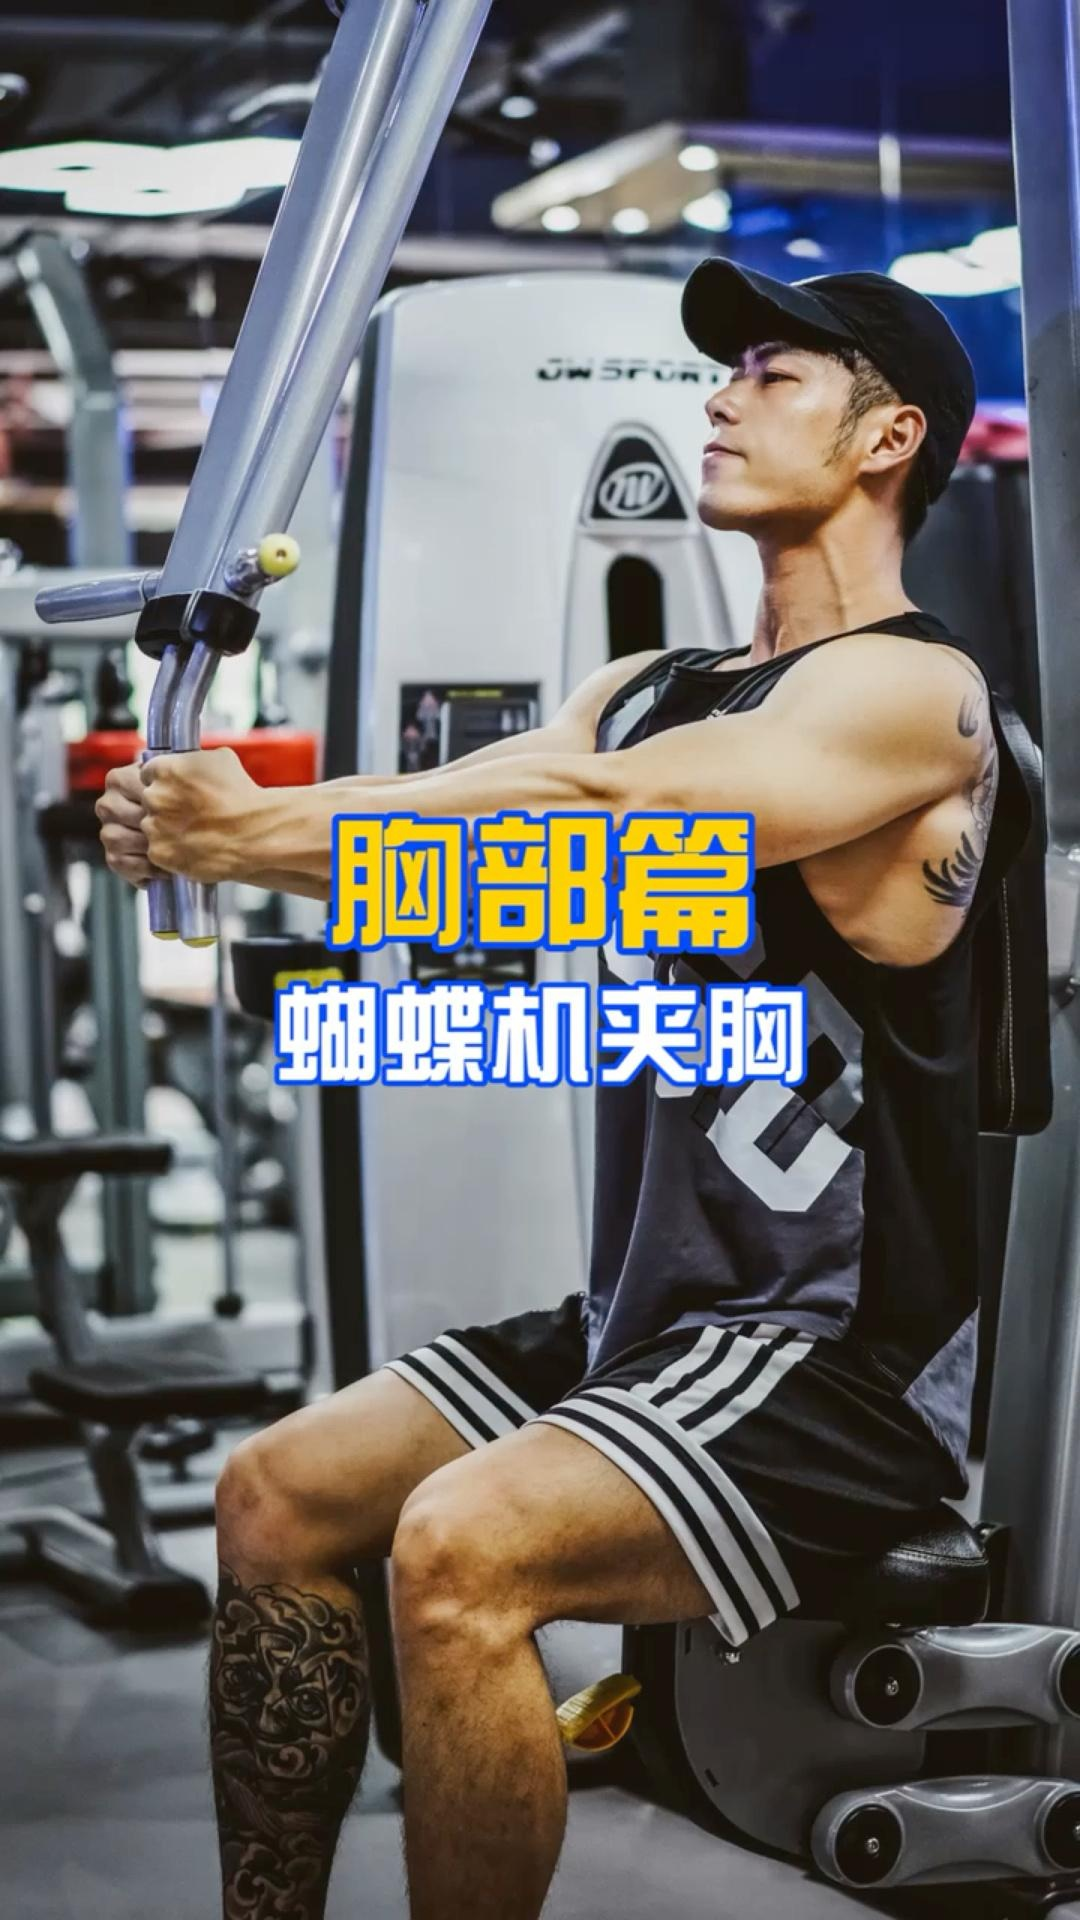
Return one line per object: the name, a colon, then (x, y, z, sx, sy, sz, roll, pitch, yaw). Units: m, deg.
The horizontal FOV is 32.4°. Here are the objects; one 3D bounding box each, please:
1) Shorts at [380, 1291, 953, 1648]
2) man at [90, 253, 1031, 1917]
Shorts: (0.086, 0.295, 1.162, 0.267, 0.108, 0.268, 5, 7, -33)
man: (0.030, 0.081, 1.204, 0.484, 1.069, 0.361, -4, 6, -41)
